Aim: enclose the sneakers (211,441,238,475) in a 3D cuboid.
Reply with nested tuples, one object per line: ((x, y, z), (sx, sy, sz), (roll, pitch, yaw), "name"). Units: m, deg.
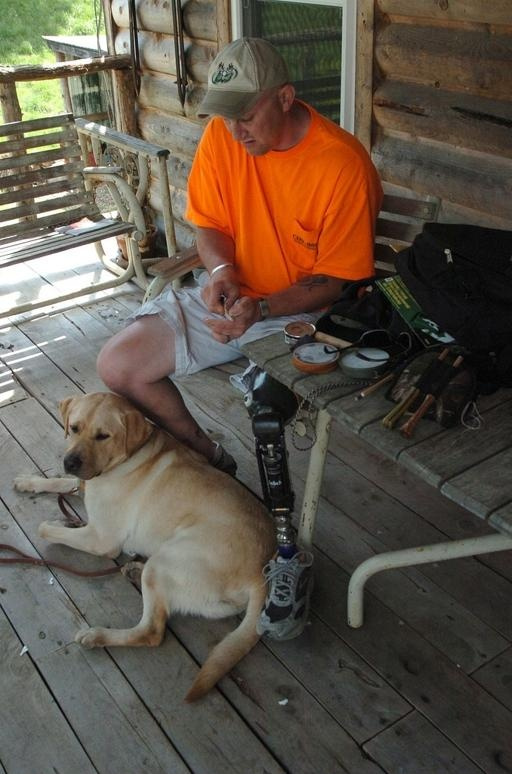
((-0.116, 0.265, 2.339), (0.118, 0.082, 0.039), (41, 43, -3), "sneakers")

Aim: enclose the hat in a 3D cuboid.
((-0.038, -0.918, 1.950), (0.204, 0.176, 0.306), (36, 68, 27), "hat")

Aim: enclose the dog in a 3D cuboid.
((-0.312, 0.426, 1.866), (0.827, 0.385, 0.583), (22, 32, 29), "dog")

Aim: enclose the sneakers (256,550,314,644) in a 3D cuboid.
((0.094, 0.553, 1.673), (0.107, 0.116, 0.261), (3, 34, 12), "sneakers")

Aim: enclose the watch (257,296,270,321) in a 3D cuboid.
((0.024, -0.251, 2.018), (0.045, 0.061, 0.065), (-1, 45, -19), "watch")
